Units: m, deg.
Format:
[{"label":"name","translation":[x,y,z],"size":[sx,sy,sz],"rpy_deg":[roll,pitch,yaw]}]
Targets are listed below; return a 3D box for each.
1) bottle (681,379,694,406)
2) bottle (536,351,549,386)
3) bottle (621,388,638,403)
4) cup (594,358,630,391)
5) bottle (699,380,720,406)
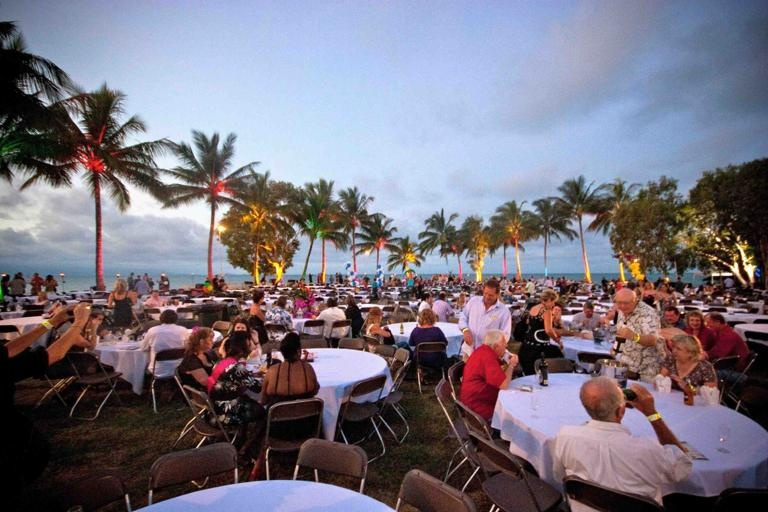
[{"label":"bottle","translation":[4.931,2.164,7.110],"size":[0.167,0.520,0.198],"rpy_deg":[-6,-6,38]},{"label":"bottle","translation":[2.812,2.010,7.761],"size":[0.185,0.561,0.409],"rpy_deg":[-3,-6,19]},{"label":"bottle","translation":[3.628,2.056,6.396],"size":[0.177,0.214,0.236],"rpy_deg":[-5,-7,30]},{"label":"cup","translation":[3.799,1.965,7.224],"size":[0.471,0.459,0.457],"rpy_deg":[-1,-6,0]},{"label":"bottle","translation":[5.304,2.255,7.091],"size":[0.272,0.332,0.181],"rpy_deg":[-3,-6,18]}]
